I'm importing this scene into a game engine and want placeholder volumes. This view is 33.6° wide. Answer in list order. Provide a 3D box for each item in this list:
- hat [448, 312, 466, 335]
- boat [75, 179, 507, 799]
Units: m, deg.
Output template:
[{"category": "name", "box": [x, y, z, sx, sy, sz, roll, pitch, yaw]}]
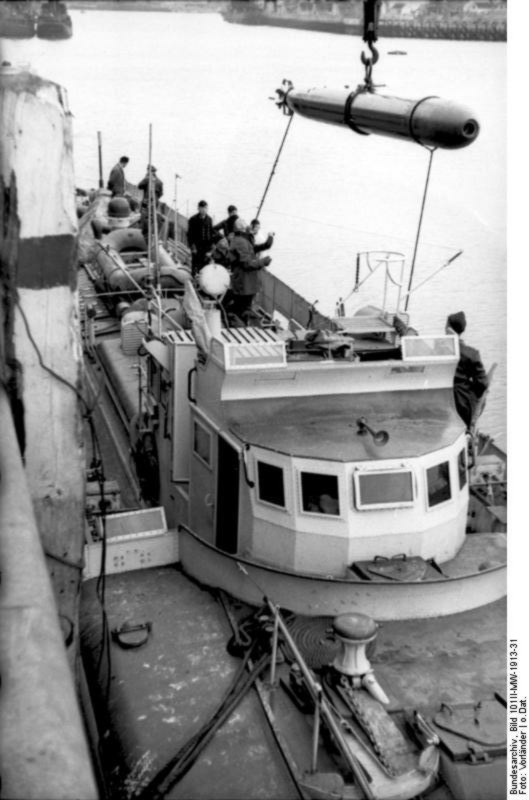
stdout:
[{"category": "hat", "box": [1.994, -0.798, 8.988, 0.185, 0.337, 0.282, 6, 6, 10]}, {"category": "boat", "box": [0.159, 1.455, 7.536, 2.312, 2.220, 5.353, 0, 40, -10]}]
